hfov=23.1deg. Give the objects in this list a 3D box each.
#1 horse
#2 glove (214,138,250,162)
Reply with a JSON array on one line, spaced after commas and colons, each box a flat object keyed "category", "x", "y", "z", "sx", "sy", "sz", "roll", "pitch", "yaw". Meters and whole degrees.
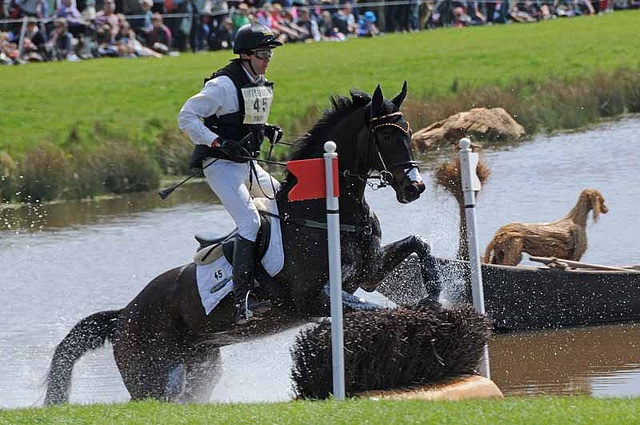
[{"category": "horse", "x": -1.969, "y": 2.190, "z": 34.127, "sx": 11.113, "sy": 7.063, "sz": 2.353, "roll": -21, "pitch": -16, "yaw": 36}, {"category": "glove", "x": -1.832, "y": -1.256, "z": 32.548, "sx": 0.648, "sy": 0.431, "sz": 0.259, "roll": 21, "pitch": 58, "yaw": 11}]
